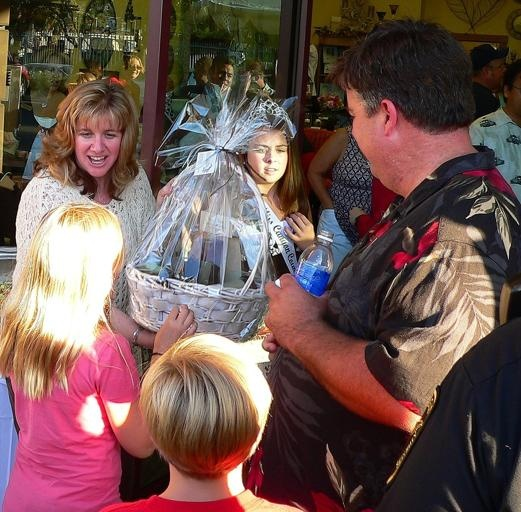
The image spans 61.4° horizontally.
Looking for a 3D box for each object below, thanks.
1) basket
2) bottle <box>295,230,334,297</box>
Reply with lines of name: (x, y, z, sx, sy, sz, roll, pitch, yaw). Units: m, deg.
basket: (-0.141, -0.012, 1.511, 0.399, 0.557, 0.384, -1, 13, -34)
bottle: (0.163, 0.019, 1.255, 0.087, 0.235, 0.095, 5, 43, -5)
